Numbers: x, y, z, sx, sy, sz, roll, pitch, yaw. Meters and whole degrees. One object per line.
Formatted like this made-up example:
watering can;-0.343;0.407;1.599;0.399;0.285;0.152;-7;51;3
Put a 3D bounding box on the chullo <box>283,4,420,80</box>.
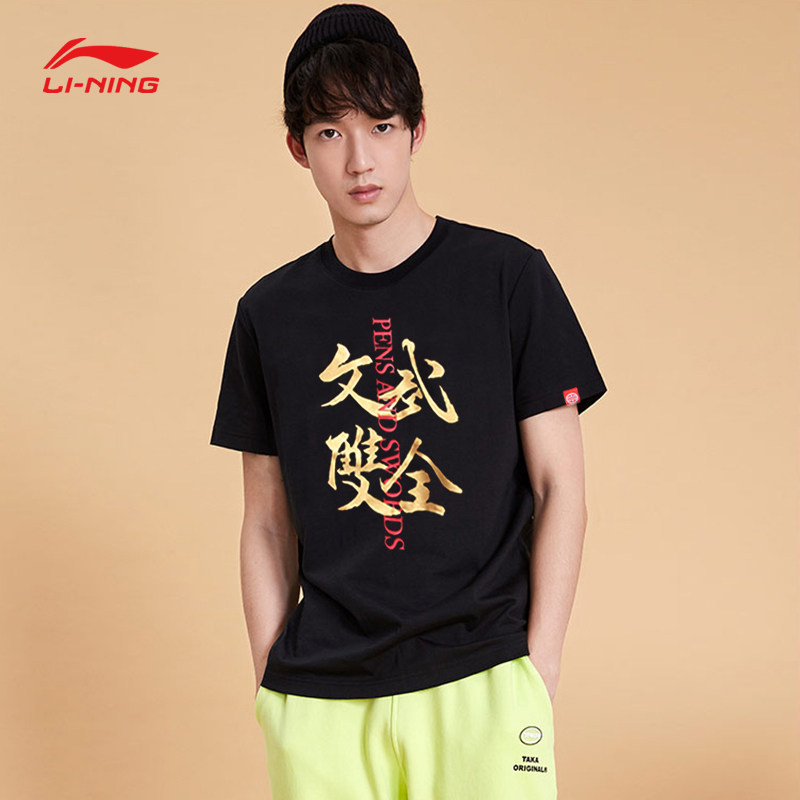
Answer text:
chullo;-0.081;-0.604;1.555;0.175;0.084;0.164;-2;-2;-36
